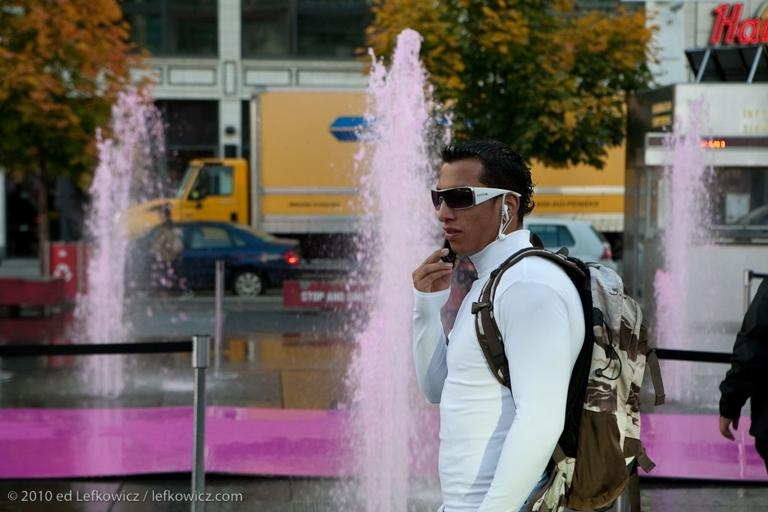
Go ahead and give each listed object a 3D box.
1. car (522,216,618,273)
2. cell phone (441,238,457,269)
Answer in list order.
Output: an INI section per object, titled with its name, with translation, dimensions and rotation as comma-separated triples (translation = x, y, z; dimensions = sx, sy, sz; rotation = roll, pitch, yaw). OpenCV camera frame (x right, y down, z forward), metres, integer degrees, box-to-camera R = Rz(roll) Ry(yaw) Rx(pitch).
[car]
translation = 2.728, -0.211, 19.403
dimensions = 1.650, 0.805, 0.947
rotation = -2, 4, -2
[cell phone]
translation = 0.442, 0.002, 9.285
dimensions = 0.041, 0.180, 0.094
rotation = 0, 15, 29
